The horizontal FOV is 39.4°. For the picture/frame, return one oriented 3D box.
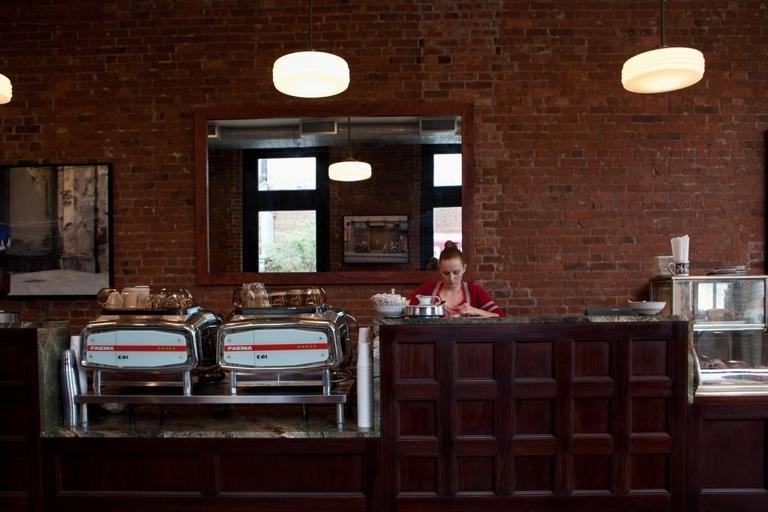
[{"bbox_3d":[-0.090,-0.158,10.045,0.756,0.469,0.020,-1,0,-36],"label":"picture/frame"}]

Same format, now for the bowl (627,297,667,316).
[{"bbox_3d":[2.146,0.421,8.822,0.213,0.094,0.182,4,-2,13],"label":"bowl"}]

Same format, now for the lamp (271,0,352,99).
[{"bbox_3d":[-0.716,-1.715,9.163,0.884,0.796,0.811,0,-1,-18],"label":"lamp"}]

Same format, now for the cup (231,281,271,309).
[{"bbox_3d":[-1.113,0.335,8.943,0.291,0.223,0.189,-1,-5,-1],"label":"cup"}]

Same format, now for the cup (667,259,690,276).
[{"bbox_3d":[2.666,0.117,9.793,0.197,0.111,0.115,-1,0,-4],"label":"cup"}]

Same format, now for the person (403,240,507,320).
[{"bbox_3d":[0.591,0.263,9.545,1.053,0.679,0.667,6,11,27],"label":"person"}]

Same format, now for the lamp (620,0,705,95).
[{"bbox_3d":[2.305,-1.566,8.940,0.647,0.316,0.302,-3,-3,16],"label":"lamp"}]
